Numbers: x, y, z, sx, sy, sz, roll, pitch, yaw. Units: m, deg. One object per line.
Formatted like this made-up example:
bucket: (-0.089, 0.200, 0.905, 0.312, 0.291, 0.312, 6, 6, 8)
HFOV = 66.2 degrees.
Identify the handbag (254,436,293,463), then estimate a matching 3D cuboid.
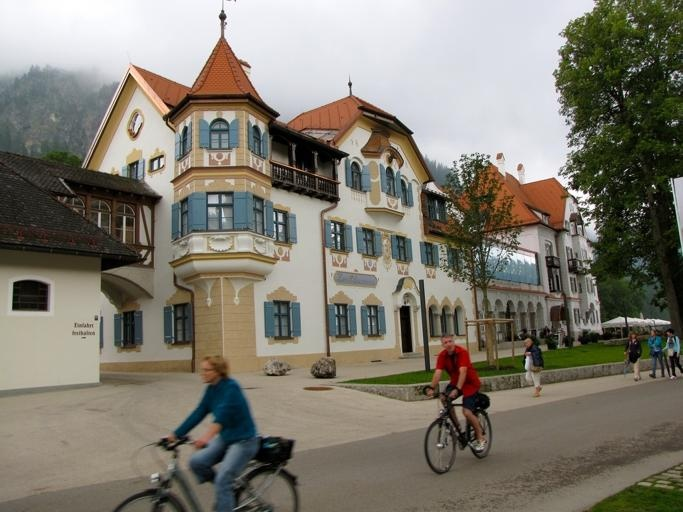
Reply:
handbag: (-0.908, 2.656, 7.139, 0.554, 0.412, 0.312, 0, -2, 3)

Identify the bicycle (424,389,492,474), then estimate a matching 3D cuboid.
bicycle: (2.381, 3.361, 9.908, 0.878, 1.229, 1.987, -16, -20, 38)

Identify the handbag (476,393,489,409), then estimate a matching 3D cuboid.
handbag: (2.814, 2.901, 10.464, 0.252, 0.313, 0.336, 0, -4, 6)

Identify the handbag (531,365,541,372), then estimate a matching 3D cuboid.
handbag: (7.257, 4.216, 19.462, 0.349, 0.205, 0.192, -7, -12, 13)
